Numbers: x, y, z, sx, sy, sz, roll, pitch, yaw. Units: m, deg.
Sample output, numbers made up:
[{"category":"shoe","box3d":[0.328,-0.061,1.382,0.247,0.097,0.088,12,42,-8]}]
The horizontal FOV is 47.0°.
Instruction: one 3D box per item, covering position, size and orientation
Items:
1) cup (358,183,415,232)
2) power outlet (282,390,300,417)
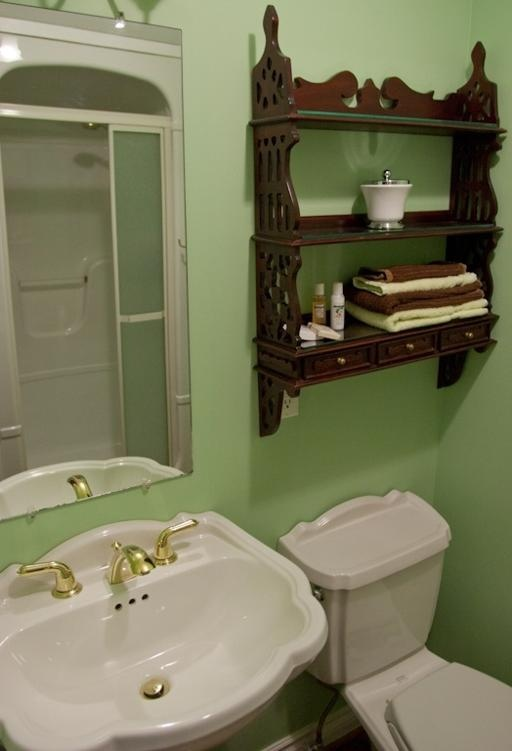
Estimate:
[{"category":"cup","box3d":[0.314,-0.398,1.421,0.111,0.106,0.117,0,16,0]},{"category":"power outlet","box3d":[0.080,0.066,1.421,0.007,0.077,0.055,19,25,41]}]
